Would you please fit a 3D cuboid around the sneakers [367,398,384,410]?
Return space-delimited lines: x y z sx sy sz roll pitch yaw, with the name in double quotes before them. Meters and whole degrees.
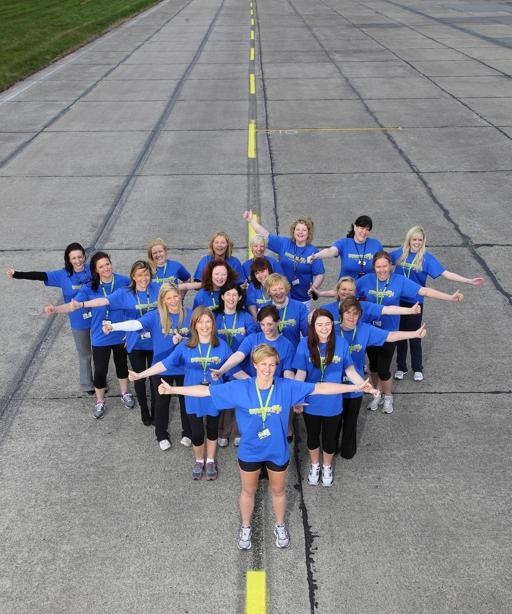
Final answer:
"sneakers" 1.242 1.011 6.261 0.077 0.072 0.182 -3 8 40

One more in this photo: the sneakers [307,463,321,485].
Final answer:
"sneakers" 0.499 1.449 5.213 0.082 0.085 0.201 2 21 9

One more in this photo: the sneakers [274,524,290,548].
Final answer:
"sneakers" 0.193 1.752 4.610 0.086 0.073 0.192 0 15 -4

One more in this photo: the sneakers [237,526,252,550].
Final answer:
"sneakers" -0.100 1.759 4.602 0.082 0.076 0.184 2 22 -1

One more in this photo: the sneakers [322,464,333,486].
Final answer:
"sneakers" 0.613 1.453 5.189 0.077 0.078 0.203 1 29 4

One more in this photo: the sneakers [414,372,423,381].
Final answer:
"sneakers" 1.787 0.766 6.626 0.066 0.048 0.122 -1 12 16

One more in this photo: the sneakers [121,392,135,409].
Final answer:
"sneakers" -1.356 0.980 6.329 0.094 0.074 0.195 -11 25 -31

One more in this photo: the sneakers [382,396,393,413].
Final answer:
"sneakers" 1.348 0.992 6.167 0.083 0.083 0.220 1 28 12

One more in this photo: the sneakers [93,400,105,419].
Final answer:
"sneakers" -1.600 1.049 6.101 0.078 0.081 0.197 1 15 -5
